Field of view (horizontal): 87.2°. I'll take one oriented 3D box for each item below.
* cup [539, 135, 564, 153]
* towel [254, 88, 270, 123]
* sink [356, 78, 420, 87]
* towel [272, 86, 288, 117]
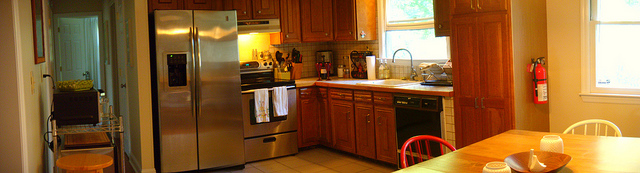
[{"bbox_3d":[6.553,1.649,9.563,0.624,0.345,0.544,3,15,32],"label":"cup"},{"bbox_3d":[-2.018,0.679,12.226,0.266,1.228,0.849,5,-14,-41],"label":"towel"},{"bbox_3d":[2.506,-0.155,12.305,0.879,0.121,0.570,5,9,42],"label":"sink"},{"bbox_3d":[-1.546,0.550,12.282,0.297,1.080,0.881,-6,-6,29],"label":"towel"}]
